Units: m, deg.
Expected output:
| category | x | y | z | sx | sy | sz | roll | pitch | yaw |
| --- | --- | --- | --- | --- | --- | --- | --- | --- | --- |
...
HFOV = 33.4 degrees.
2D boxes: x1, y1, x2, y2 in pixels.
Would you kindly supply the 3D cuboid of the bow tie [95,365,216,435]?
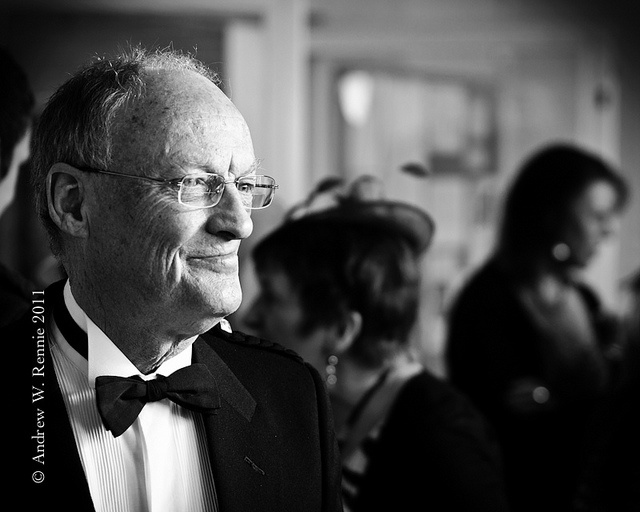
| category | x | y | z | sx | sy | sz | roll | pitch | yaw |
| --- | --- | --- | --- | --- | --- | --- | --- | --- | --- |
| bow tie | -0.428 | 0.376 | 2.832 | 0.328 | 0.183 | 0.061 | 2 | 5 | -19 |
